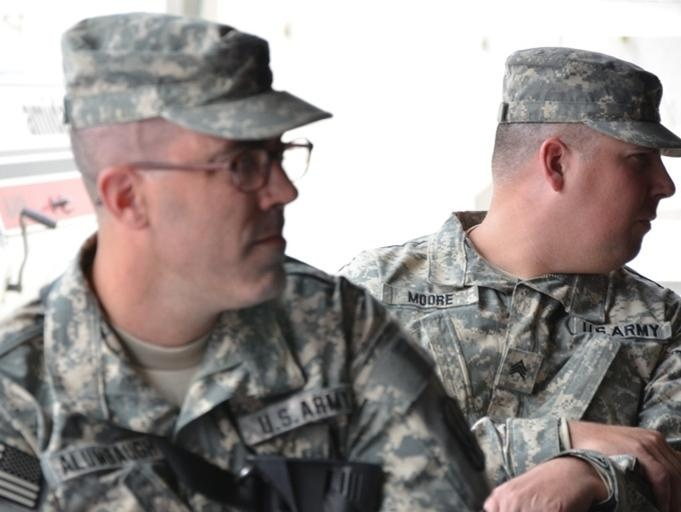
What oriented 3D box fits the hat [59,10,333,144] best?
[{"bbox_3d":[-0.292,-0.313,1.900,0.330,0.139,0.251,6,13,-3],"label":"hat"}]
